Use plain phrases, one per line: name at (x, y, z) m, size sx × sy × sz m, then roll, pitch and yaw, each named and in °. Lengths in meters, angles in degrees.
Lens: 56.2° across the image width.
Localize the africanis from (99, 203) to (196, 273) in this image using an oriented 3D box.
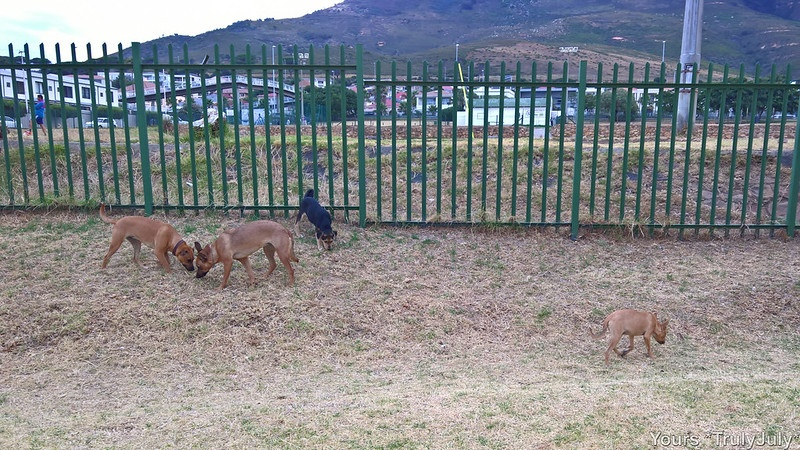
africanis at (-4.512, 0.276, 13.437) m, size 2.099 × 1.181 × 0.480 m, roll 8°, pitch 13°, yaw 17°

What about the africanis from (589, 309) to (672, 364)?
africanis at (3.752, 1.807, 12.287) m, size 1.523 × 0.792 × 0.377 m, roll 2°, pitch 0°, yaw -24°
